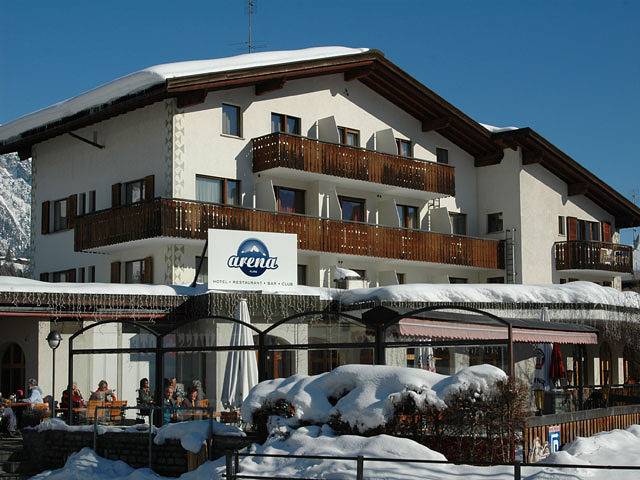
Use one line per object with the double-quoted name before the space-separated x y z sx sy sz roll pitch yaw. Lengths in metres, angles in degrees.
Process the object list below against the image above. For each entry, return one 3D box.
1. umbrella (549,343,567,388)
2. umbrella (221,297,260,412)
"umbrella" 7.460 3.897 40.168 0.491 1.339 1.382 -3 -12 10
"umbrella" -2.292 3.316 37.348 0.841 3.630 0.945 5 -7 -36
